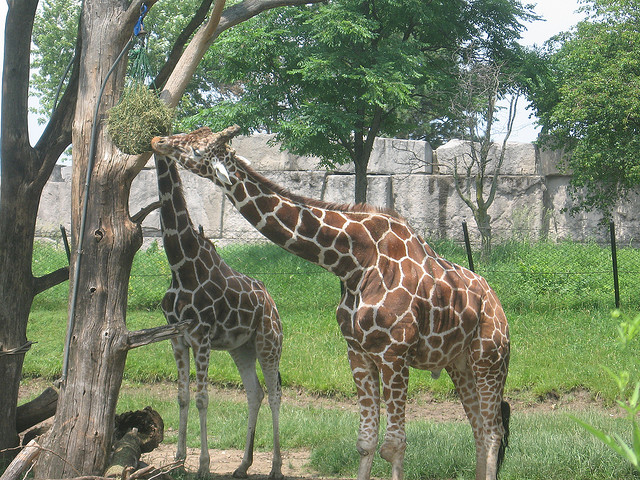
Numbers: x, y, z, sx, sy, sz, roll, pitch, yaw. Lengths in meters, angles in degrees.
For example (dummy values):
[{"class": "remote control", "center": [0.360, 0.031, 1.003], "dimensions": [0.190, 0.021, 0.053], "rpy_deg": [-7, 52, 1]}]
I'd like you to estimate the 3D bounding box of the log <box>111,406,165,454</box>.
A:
[{"class": "log", "center": [-2.947, 3.052, 14.582], "dimensions": [0.707, 0.661, 0.520], "rpy_deg": [5, 18, 15]}]
